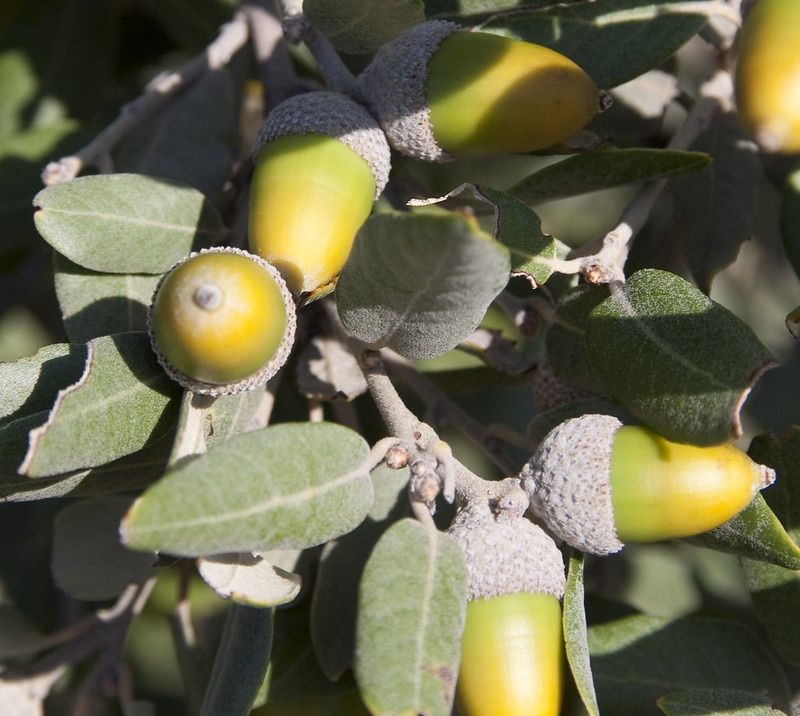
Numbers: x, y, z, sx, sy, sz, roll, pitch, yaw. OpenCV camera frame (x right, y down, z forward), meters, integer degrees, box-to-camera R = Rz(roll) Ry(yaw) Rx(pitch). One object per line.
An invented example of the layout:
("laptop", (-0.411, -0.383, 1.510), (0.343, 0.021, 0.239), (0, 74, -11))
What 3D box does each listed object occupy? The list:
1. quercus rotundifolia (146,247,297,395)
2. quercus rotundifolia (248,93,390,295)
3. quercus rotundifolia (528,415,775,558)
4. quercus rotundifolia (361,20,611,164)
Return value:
("quercus rotundifolia", (-0.177, -0.036, 0.961), (0.152, 0.145, 0.093), (4, 4, -5))
("quercus rotundifolia", (-0.074, -0.165, 1.105), (0.140, 0.228, 0.117), (-11, -40, 30))
("quercus rotundifolia", (0.274, 0.137, 1.108), (0.293, 0.140, 0.162), (4, 27, -4))
("quercus rotundifolia", (0.098, -0.307, 1.153), (0.300, 0.155, 0.171), (12, 27, 25))
